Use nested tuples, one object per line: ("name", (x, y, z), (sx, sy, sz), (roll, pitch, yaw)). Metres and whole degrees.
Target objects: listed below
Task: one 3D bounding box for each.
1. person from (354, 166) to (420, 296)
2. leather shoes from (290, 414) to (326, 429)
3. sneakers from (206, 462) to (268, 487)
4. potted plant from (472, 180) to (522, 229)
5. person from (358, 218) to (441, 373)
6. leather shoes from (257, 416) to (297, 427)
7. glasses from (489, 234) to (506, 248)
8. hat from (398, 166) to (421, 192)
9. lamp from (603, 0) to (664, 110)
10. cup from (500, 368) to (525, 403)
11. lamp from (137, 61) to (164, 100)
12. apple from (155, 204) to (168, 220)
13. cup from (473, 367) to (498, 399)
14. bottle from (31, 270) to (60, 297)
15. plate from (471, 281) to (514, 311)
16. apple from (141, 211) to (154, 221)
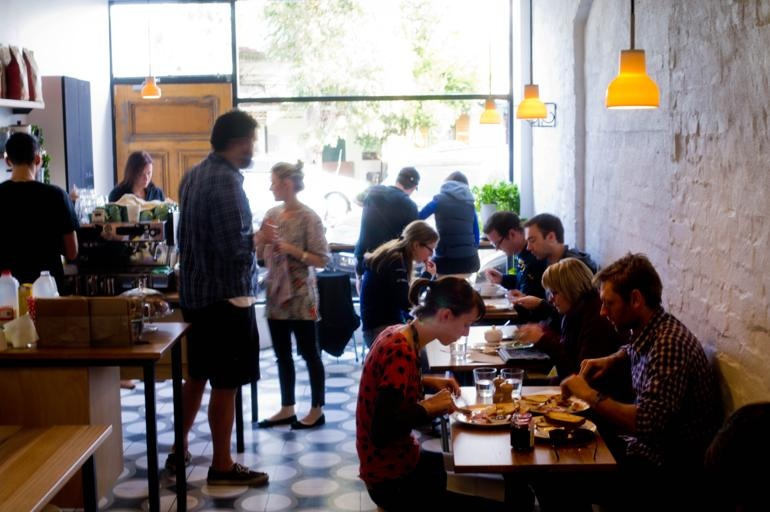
("person", (-0.002, -0.128, 6.266), (0.597, 1.543, 0.532), (13, 12, 9))
("leather shoes", (-0.630, 1.358, 4.952), (0.286, 0.103, 0.094), (4, -6, -23))
("sneakers", (-0.989, 1.483, 4.124), (0.434, 0.146, 0.150), (1, -5, -6))
("potted plant", (1.305, -0.582, 7.220), (0.577, 0.662, 0.693), (0, 2, 6))
("person", (0.110, 0.468, 4.522), (0.650, 1.340, 0.525), (-3, 6, -15))
("leather shoes", (-0.884, 1.363, 4.944), (0.323, 0.084, 0.110), (3, -4, -16))
("glasses", (0.953, -0.126, 5.152), (0.034, 0.106, 0.107), (-11, 1, -23))
("hat", (0.222, -0.775, 6.249), (0.206, 0.246, 0.267), (10, -13, -1))
("lamp", (1.463, -1.210, 3.535), (0.263, 0.707, 0.765), (1, 9, 24))
("cup", (0.633, 0.681, 3.157), (0.144, 0.144, 0.138), (0, -3, 0))
("lamp", (-2.672, -2.009, 6.893), (0.216, 0.438, 0.674), (-6, 9, -19))
("apple", (-1.610, -0.318, 4.359), (0.097, 0.103, 0.111), (1, -7, 11))
("cup", (0.530, 0.667, 3.204), (0.132, 0.135, 0.143), (0, 4, 0))
("bottle", (-2.129, 0.177, 3.766), (0.132, 0.152, 0.347), (-8, 10, -30))
("plate", (0.926, 0.281, 5.138), (0.270, 0.087, 0.403), (1, 7, -1))
("apple", (-1.721, -0.297, 4.366), (0.086, 0.073, 0.054), (-6, 9, -22))
